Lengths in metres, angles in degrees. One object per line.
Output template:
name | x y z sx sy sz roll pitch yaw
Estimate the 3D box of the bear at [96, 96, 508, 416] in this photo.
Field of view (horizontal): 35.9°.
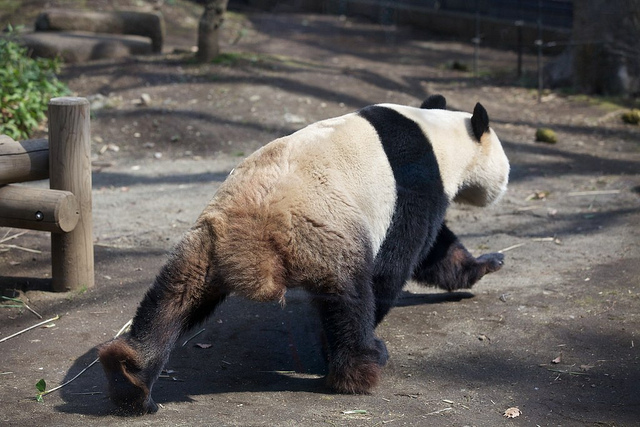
bear | 0.173 0.201 9.990 1.894 2.210 5.377 14 26 36
